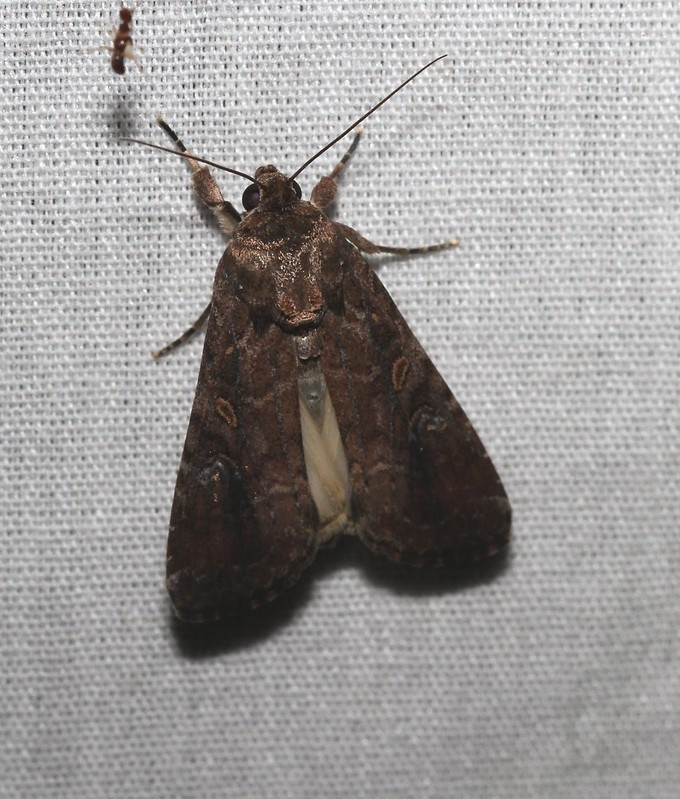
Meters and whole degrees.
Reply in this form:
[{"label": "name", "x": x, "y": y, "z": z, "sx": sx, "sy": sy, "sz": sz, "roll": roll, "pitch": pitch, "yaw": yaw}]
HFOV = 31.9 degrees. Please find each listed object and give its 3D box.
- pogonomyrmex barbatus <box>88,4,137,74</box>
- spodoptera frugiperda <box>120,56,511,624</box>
[{"label": "pogonomyrmex barbatus", "x": -0.548, "y": -0.910, "z": 2.992, "sx": 0.109, "sy": 0.153, "sz": 0.188, "roll": -1, "pitch": 33, "yaw": -2}, {"label": "spodoptera frugiperda", "x": -0.141, "y": -0.281, "z": 3.122, "sx": 0.789, "sy": 0.375, "sz": 1.754, "roll": -8, "pitch": 57, "yaw": -16}]
